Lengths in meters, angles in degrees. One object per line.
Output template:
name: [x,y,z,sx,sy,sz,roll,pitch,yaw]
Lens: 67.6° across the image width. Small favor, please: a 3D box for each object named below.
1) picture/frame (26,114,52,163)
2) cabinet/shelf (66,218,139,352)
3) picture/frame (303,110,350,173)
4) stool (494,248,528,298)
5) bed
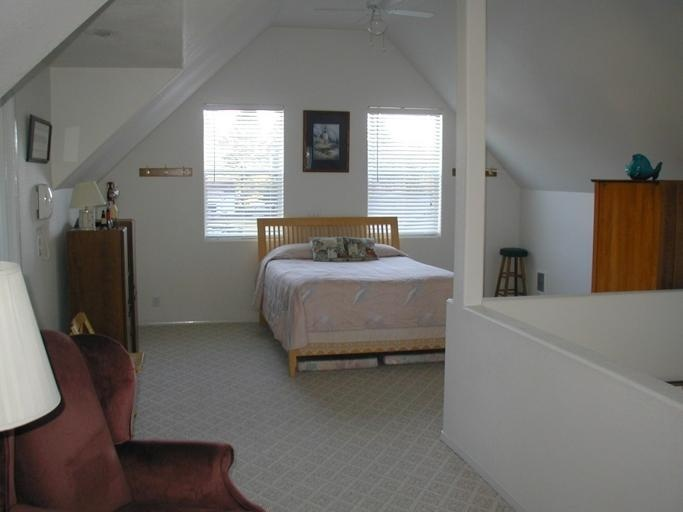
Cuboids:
picture/frame: [-2.252,-0.853,3.808,0.107,0.326,0.468,-4,7,-19]
cabinet/shelf: [-1.891,0.215,4.002,0.388,1.147,1.114,0,2,-7]
picture/frame: [-0.231,-1.499,6.615,0.706,1.026,0.039,0,6,-8]
stool: [2.342,0.238,7.046,0.432,0.680,0.529,1,7,20]
bed: [0.023,0.279,5.729,1.963,1.335,2.288,-3,7,-11]
